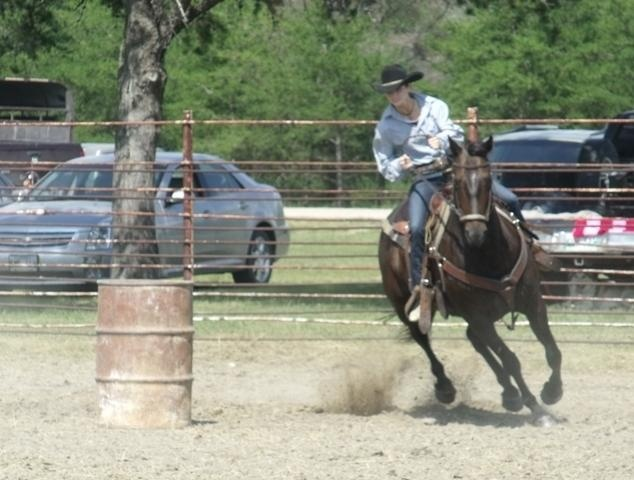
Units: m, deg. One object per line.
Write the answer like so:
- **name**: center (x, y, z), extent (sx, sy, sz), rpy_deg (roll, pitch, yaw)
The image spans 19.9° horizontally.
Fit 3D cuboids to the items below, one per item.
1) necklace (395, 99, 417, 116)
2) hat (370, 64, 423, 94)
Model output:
- **necklace**: center (1.506, -2.284, 30.864), extent (0.263, 0.298, 0.335), rpy_deg (-10, -24, 0)
- **hat**: center (1.369, -2.755, 30.866), extent (0.791, 0.481, 0.465), rpy_deg (-2, 5, 2)
